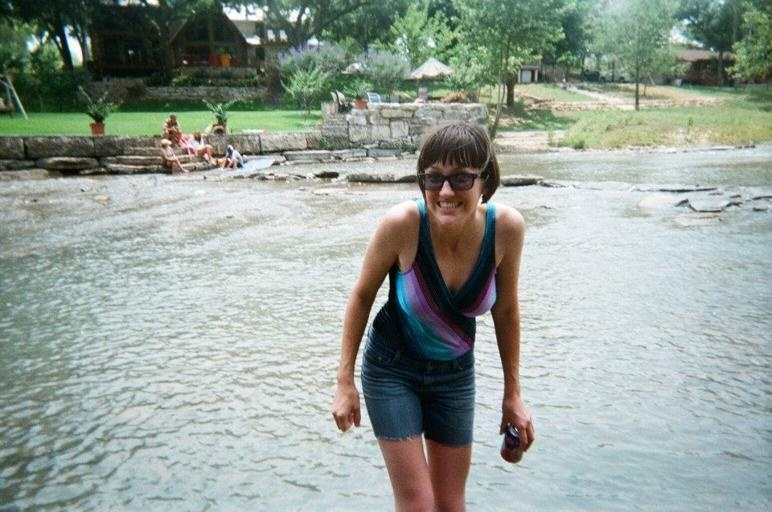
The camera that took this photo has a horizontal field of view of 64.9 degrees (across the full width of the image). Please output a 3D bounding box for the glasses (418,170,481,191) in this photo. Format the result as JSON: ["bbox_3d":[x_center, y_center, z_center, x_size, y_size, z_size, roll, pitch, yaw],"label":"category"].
[{"bbox_3d":[0.453,-0.526,4.258,0.428,0.137,0.125,-2,17,3],"label":"glasses"}]

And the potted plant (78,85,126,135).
[{"bbox_3d":[-9.564,-4.743,20.145,1.031,1.220,0.927,2,9,14],"label":"potted plant"}]

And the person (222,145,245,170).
[{"bbox_3d":[-5.336,-3.467,21.050,0.774,0.754,1.528,-7,17,-12],"label":"person"}]

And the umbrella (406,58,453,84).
[{"bbox_3d":[2.946,-12.378,40.211,2.912,1.333,2.754,-1,17,6],"label":"umbrella"}]

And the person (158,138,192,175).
[{"bbox_3d":[-6.726,-3.163,19.224,0.743,1.038,0.701,-10,18,-20],"label":"person"}]
